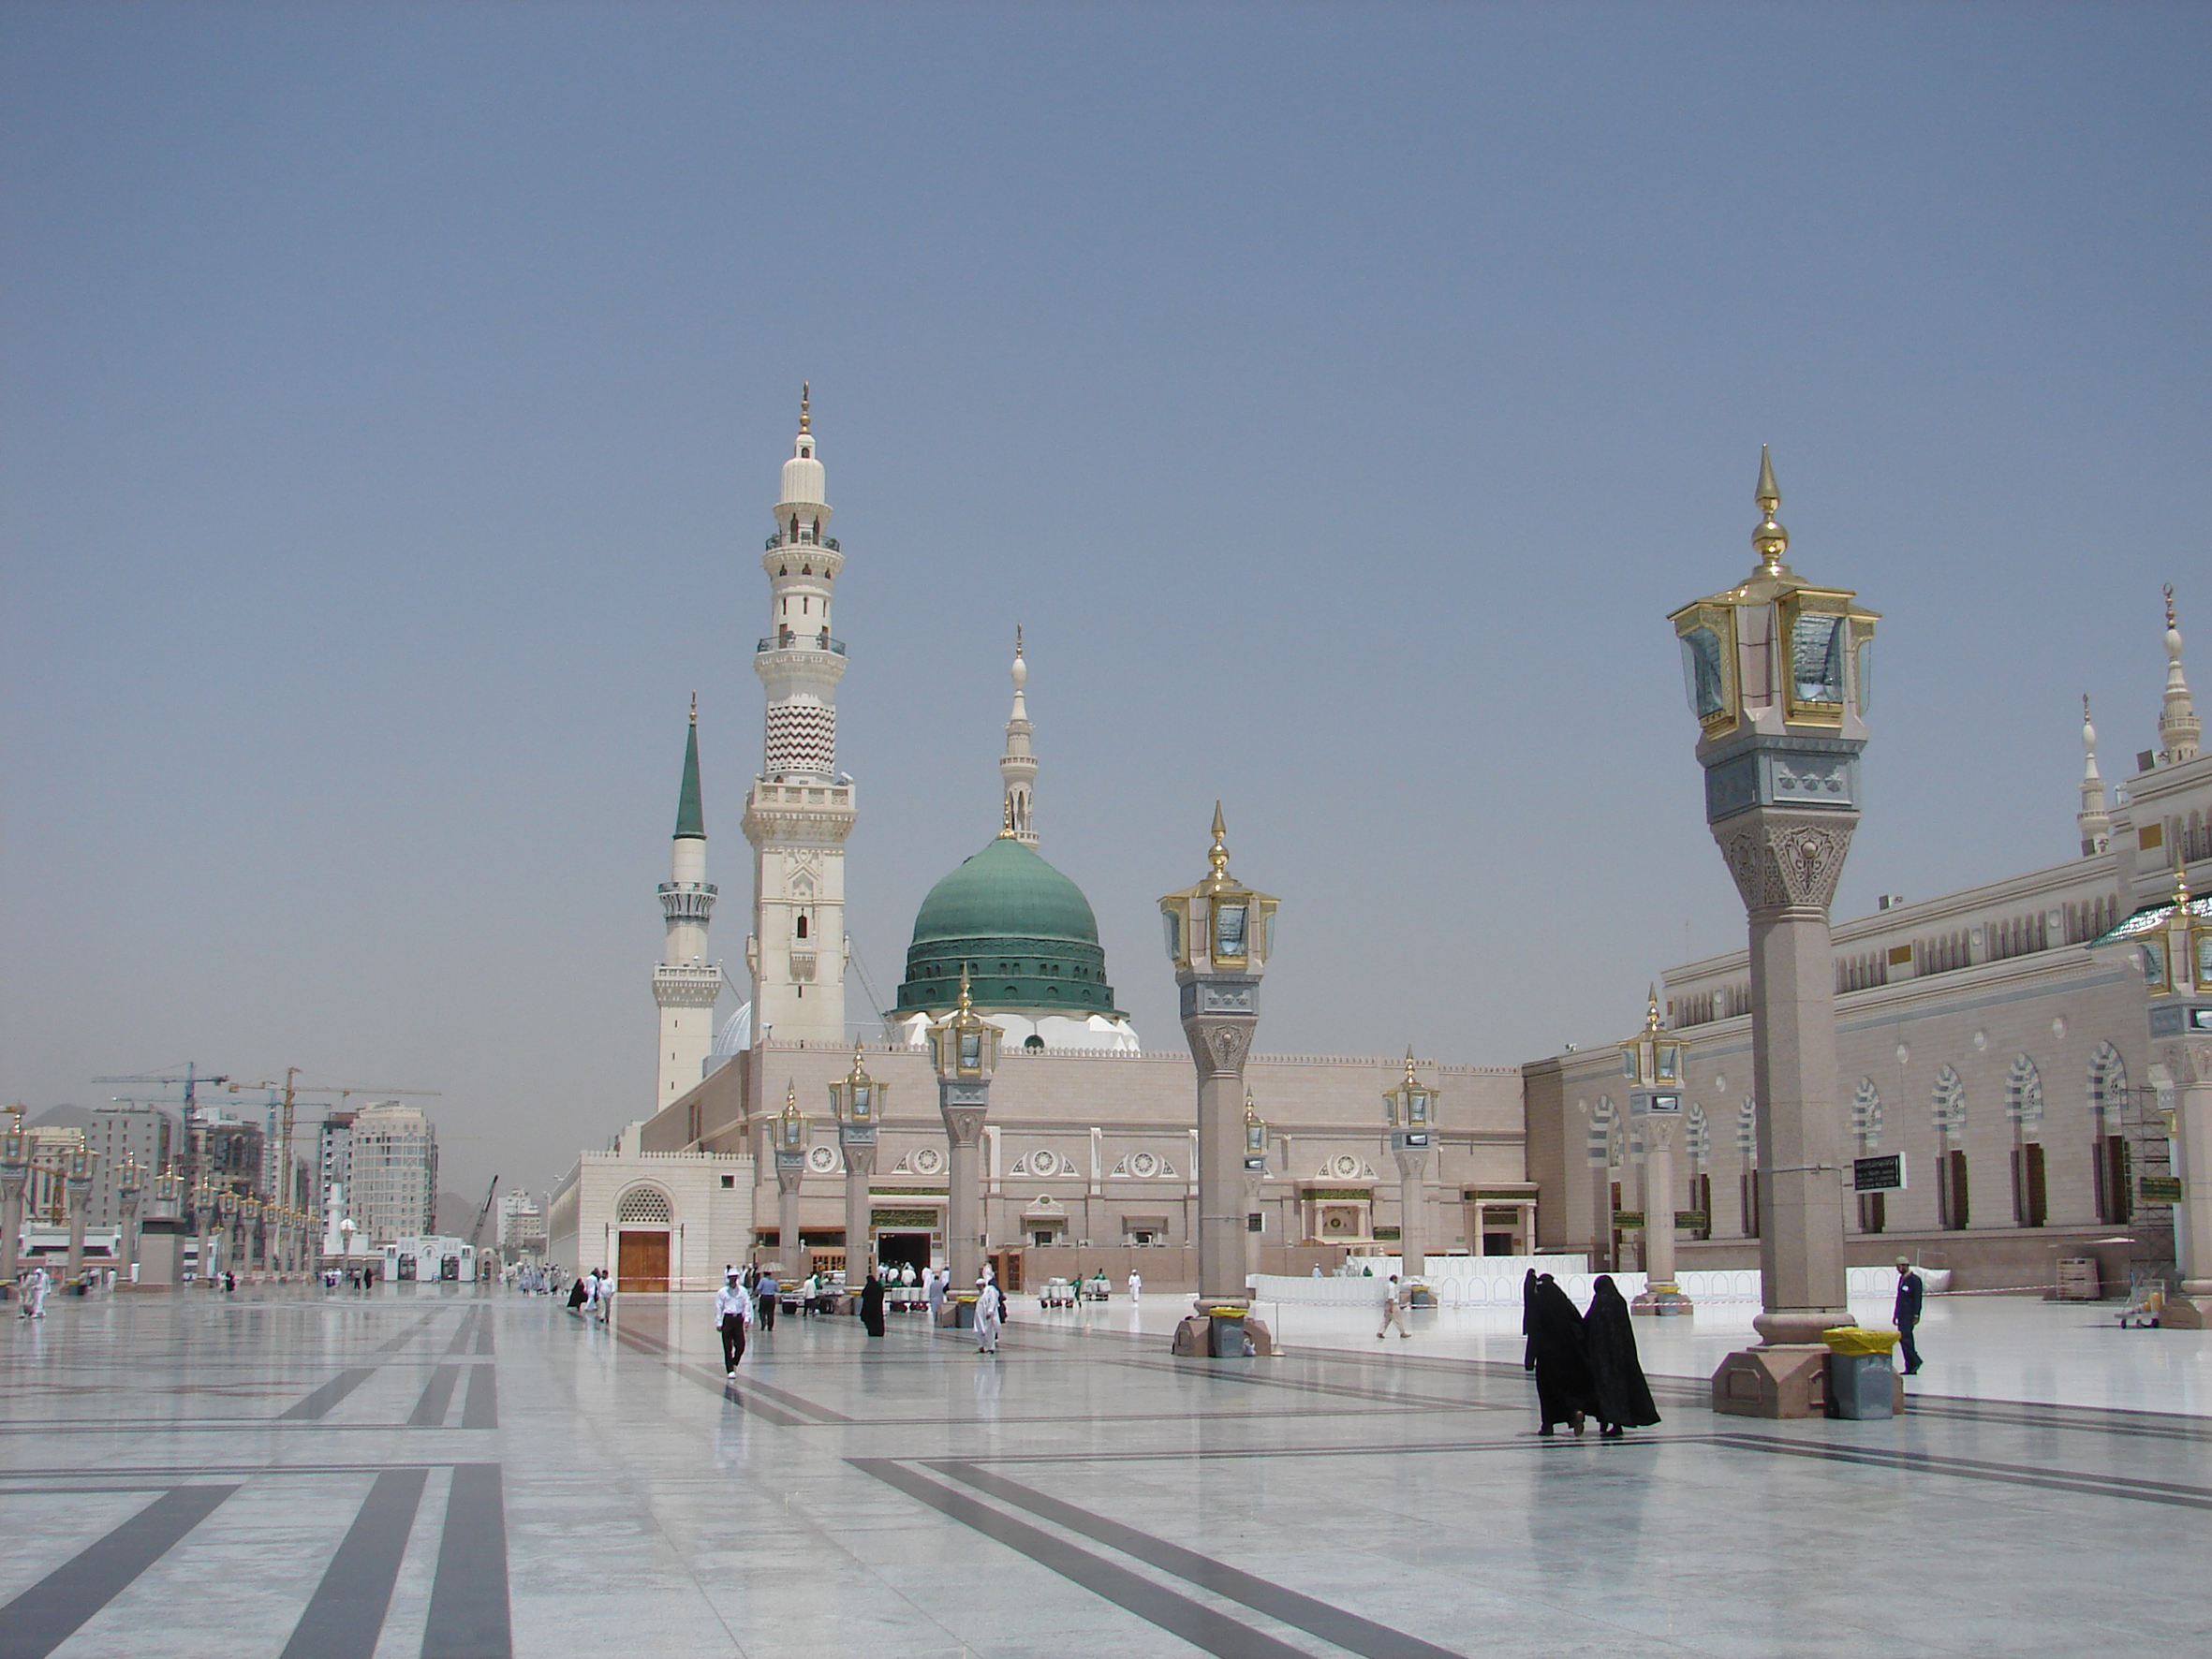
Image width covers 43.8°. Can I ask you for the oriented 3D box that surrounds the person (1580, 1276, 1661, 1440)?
[{"bbox_3d":[4.182,4.248,22.488,0.564,1.378,1.938,-3,-14,10],"label":"person"}]

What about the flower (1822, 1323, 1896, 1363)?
[{"bbox_3d":[6.386,4.286,23.134,0.743,0.300,0.423,8,-16,-33],"label":"flower"}]
